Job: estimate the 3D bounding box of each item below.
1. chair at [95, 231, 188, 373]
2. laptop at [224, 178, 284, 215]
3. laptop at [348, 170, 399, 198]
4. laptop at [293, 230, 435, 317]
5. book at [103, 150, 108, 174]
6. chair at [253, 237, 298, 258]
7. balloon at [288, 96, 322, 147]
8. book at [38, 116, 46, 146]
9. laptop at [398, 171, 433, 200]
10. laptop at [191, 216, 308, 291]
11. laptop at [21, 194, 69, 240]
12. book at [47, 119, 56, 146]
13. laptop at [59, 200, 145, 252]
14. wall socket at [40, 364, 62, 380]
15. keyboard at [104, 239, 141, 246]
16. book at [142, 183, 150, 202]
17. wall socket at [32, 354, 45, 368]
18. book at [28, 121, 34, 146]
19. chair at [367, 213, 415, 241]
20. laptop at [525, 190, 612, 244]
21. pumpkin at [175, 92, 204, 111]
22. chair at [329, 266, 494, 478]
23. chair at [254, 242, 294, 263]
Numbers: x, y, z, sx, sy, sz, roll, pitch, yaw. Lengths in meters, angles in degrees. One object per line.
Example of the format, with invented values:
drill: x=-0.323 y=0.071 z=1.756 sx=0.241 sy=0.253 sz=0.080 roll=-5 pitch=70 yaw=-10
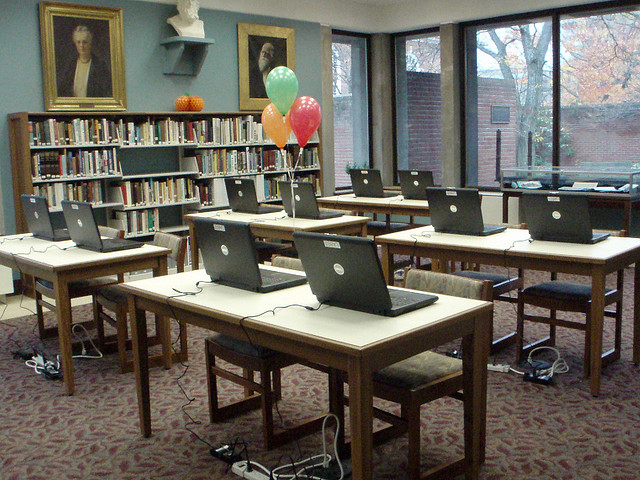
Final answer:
chair: x=-1.529 y=0.475 z=4.449 sx=0.756 sy=0.993 sz=1.141 roll=-10 pitch=15 yaw=-27
laptop: x=-0.741 y=-0.509 z=5.911 sx=0.516 sy=0.357 sz=0.573 roll=-3 pitch=9 yaw=-32
laptop: x=0.631 y=-0.734 z=6.626 sx=0.480 sy=0.358 sz=0.386 roll=6 pitch=16 yaw=34
laptop: x=0.196 y=0.134 z=2.567 sx=0.462 sy=0.402 sz=0.399 roll=10 pitch=18 yaw=42
book: x=-2.544 y=-0.943 z=6.228 sx=0.066 sy=0.281 sz=0.014 roll=-16 pitch=19 yaw=-43
chair: x=-0.512 y=0.068 z=5.861 sx=0.304 sy=0.180 sz=0.447 roll=-1 pitch=3 yaw=-44
balloon: x=-0.164 y=-1.259 z=5.496 sx=0.283 sy=0.508 sz=0.236 roll=-10 pitch=16 yaw=-28
book: x=-3.059 y=-1.181 z=5.756 sx=0.046 sy=0.258 sz=0.064 roll=-5 pitch=14 yaw=-6
laptop: x=1.136 y=-0.662 z=6.211 sx=0.143 sy=0.344 sz=0.512 roll=-16 pitch=18 yaw=-42
laptop: x=-0.383 y=0.050 z=3.017 sx=0.572 sy=0.365 sz=0.501 roll=7 pitch=11 yaw=45
laptop: x=-2.340 y=-0.212 z=4.705 sx=0.527 sy=0.355 sz=0.443 roll=7 pitch=9 yaw=42
book: x=-2.990 y=-1.207 z=5.815 sx=0.048 sy=0.289 sz=0.274 roll=-9 pitch=15 yaw=-17
laptop: x=-1.763 y=-0.128 z=4.262 sx=0.497 sy=0.333 sz=0.621 roll=2 pitch=4 yaw=-41
wall socket: x=-2.122 y=1.027 z=4.123 sx=0.096 sy=0.030 sz=0.173 roll=-5 pitch=14 yaw=-42
keyboard: x=-1.650 y=0.014 z=4.340 sx=0.211 sy=0.021 sz=0.222 roll=3 pitch=5 yaw=-30
book: x=-2.195 y=-0.610 z=6.591 sx=0.044 sy=0.239 sz=0.088 roll=2 pitch=15 yaw=18
wall socket: x=-2.277 y=0.978 z=4.251 sx=0.063 sy=0.072 sz=0.209 roll=-6 pitch=8 yaw=-43
book: x=-3.143 y=-1.171 z=5.689 sx=0.038 sy=0.263 sz=0.124 roll=-7 pitch=14 yaw=-15
chair: x=0.767 y=-0.176 z=6.529 sx=0.399 sy=0.204 sz=0.388 roll=-8 pitch=11 yaw=-42
laptop: x=1.887 y=-0.190 z=3.979 sx=0.481 sy=0.357 sz=0.541 roll=-7 pitch=8 yaw=-44
pumpkin: x=-1.702 y=-1.780 z=6.827 sx=0.294 sy=0.168 sz=0.279 roll=-3 pitch=5 yaw=-35
chair: x=0.482 y=0.738 z=2.899 sx=0.740 sy=0.973 sz=0.826 roll=4 pitch=15 yaw=24
chair: x=-0.543 y=0.100 z=5.797 sx=0.259 sy=0.151 sz=0.359 roll=-6 pitch=9 yaw=-39
